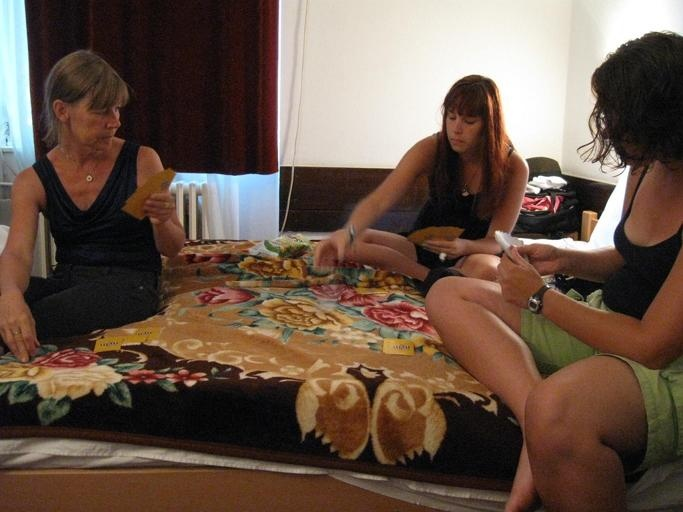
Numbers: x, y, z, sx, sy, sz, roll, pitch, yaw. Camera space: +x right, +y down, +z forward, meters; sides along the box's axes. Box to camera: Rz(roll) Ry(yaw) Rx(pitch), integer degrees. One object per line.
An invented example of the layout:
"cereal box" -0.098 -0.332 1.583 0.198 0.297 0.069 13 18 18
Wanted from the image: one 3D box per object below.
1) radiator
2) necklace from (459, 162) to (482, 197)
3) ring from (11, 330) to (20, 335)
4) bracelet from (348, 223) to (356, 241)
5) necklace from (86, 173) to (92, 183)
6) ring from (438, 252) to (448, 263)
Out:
"radiator" -1.257 -0.352 3.176 0.625 0.766 0.802 -7 13 -28
"necklace" 0.498 -0.294 1.938 0.116 0.106 0.029 2 0 19
"ring" -0.816 0.193 1.275 0.012 0.004 0.011 6 21 -2
"bracelet" 0.032 -0.068 1.536 0.010 0.035 0.038 4 5 -3
"necklace" -0.812 -0.249 1.639 0.017 0.020 0.006 -4 -7 -12
"ring" 0.380 0.005 1.865 0.032 0.034 0.040 -4 23 -1
